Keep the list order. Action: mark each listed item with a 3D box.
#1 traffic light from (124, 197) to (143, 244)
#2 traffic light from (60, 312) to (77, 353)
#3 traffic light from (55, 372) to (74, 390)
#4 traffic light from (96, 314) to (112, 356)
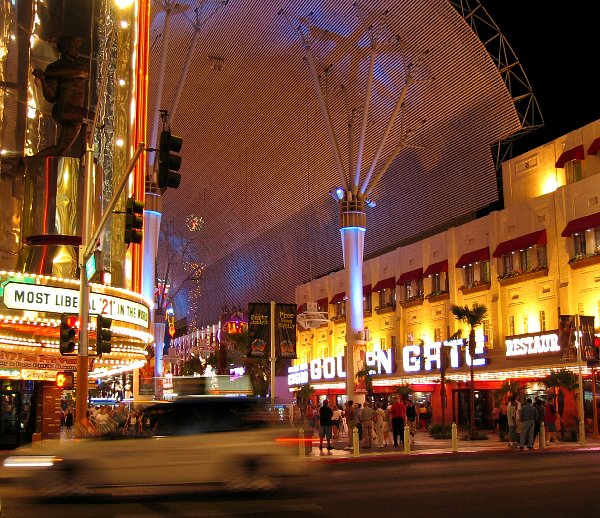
[{"bbox_3d":[-3.795,-0.856,13.951,0.377,1.051,0.626,3,-15,-18],"label":"traffic light"},{"bbox_3d":[-5.941,1.955,15.655,0.393,1.047,1.277,4,-17,-22],"label":"traffic light"},{"bbox_3d":[-6.492,3.352,16.881,0.426,0.476,0.625,3,-16,-17],"label":"traffic light"},{"bbox_3d":[-5.049,1.939,15.721,0.373,1.051,0.585,0,-14,-8],"label":"traffic light"}]
